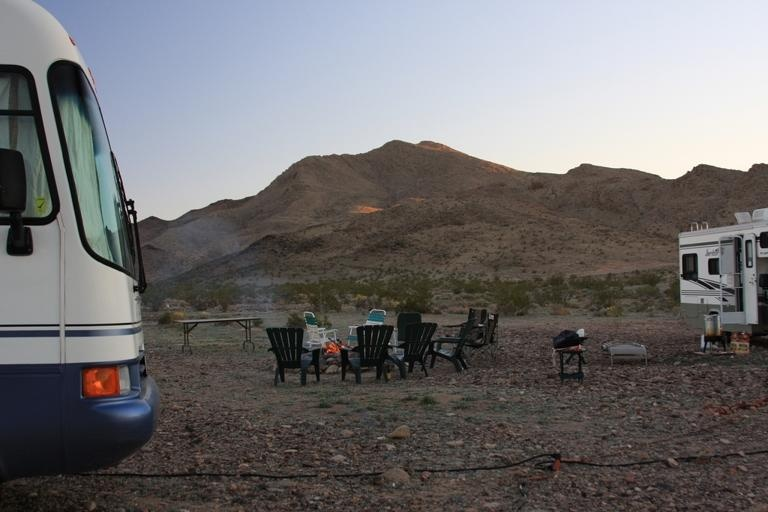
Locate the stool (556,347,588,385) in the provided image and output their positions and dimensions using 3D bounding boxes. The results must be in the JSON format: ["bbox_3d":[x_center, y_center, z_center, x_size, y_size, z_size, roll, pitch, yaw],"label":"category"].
[{"bbox_3d":[3.744,2.203,10.248,0.912,0.677,0.810,-1,-5,5],"label":"stool"}]

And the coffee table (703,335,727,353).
[{"bbox_3d":[8.249,2.180,12.763,0.637,0.370,0.561,-2,-7,12],"label":"coffee table"}]

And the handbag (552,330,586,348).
[{"bbox_3d":[3.781,1.677,10.393,0.729,0.230,0.572,-11,-4,-27],"label":"handbag"}]

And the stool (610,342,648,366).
[{"bbox_3d":[5.377,2.098,11.414,0.828,0.410,0.702,-1,1,9],"label":"stool"}]
